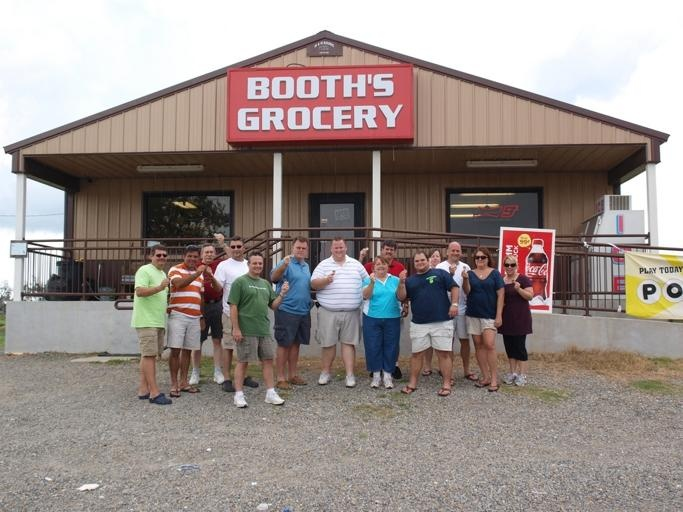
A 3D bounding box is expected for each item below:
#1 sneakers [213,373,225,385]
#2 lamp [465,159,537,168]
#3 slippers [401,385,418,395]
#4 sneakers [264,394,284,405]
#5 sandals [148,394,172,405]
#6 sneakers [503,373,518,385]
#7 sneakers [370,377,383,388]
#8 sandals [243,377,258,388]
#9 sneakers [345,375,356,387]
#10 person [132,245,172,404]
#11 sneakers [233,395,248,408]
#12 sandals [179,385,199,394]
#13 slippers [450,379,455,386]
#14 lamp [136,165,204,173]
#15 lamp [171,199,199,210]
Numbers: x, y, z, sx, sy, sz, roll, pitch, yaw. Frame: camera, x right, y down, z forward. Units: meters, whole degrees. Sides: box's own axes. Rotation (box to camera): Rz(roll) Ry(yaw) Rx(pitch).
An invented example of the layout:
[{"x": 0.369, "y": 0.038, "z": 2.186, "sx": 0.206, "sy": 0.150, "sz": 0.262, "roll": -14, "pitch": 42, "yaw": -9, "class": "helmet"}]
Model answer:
[{"x": -1.818, "y": 1.794, "z": 9.225, "sx": 0.079, "sy": 0.175, "sz": 0.229, "roll": 3, "pitch": -18, "yaw": -23, "class": "sneakers"}, {"x": 3.462, "y": -2.042, "z": 13.797, "sx": 0.936, "sy": 0.203, "sz": 0.108, "roll": 1, "pitch": 10, "yaw": 7, "class": "lamp"}, {"x": 0.937, "y": 1.850, "z": 8.812, "sx": 0.147, "sy": 0.091, "sz": 0.264, "roll": 9, "pitch": 13, "yaw": 39, "class": "slippers"}, {"x": -0.915, "y": 1.883, "z": 8.321, "sx": 0.254, "sy": 0.173, "sz": 0.116, "roll": -4, "pitch": -4, "yaw": 38, "class": "sneakers"}, {"x": -2.394, "y": 1.892, "z": 8.303, "sx": 0.221, "sy": 0.099, "sz": 0.137, "roll": -2, "pitch": 2, "yaw": 20, "class": "sandals"}, {"x": 2.476, "y": 1.808, "z": 9.276, "sx": 0.090, "sy": 0.115, "sz": 0.234, "roll": -4, "pitch": -7, "yaw": 45, "class": "sneakers"}, {"x": 0.488, "y": 1.823, "z": 9.053, "sx": 0.086, "sy": 0.123, "sz": 0.261, "roll": -1, "pitch": -9, "yaw": 8, "class": "sneakers"}, {"x": -1.343, "y": 1.842, "z": 9.188, "sx": 0.266, "sy": 0.125, "sz": 0.093, "roll": 0, "pitch": 1, "yaw": -24, "class": "sandals"}, {"x": 0.116, "y": 1.788, "z": 9.083, "sx": 0.147, "sy": 0.165, "sz": 0.255, "roll": 0, "pitch": 10, "yaw": 0, "class": "sneakers"}, {"x": -2.487, "y": 0.898, "z": 8.393, "sx": 0.498, "sy": 2.036, "sz": 0.497, "roll": 4, "pitch": 9, "yaw": 25, "class": "person"}, {"x": -1.343, "y": 1.880, "z": 8.274, "sx": 0.181, "sy": 0.154, "sz": 0.265, "roll": -2, "pitch": 10, "yaw": -14, "class": "sneakers"}, {"x": -2.151, "y": 1.861, "z": 8.834, "sx": 0.246, "sy": 0.083, "sz": 0.103, "roll": 0, "pitch": 1, "yaw": 17, "class": "sandals"}, {"x": 1.611, "y": 1.842, "z": 9.199, "sx": 0.029, "sy": 0.092, "sz": 0.086, "roll": 16, "pitch": -20, "yaw": -35, "class": "slippers"}, {"x": -3.836, "y": -1.965, "z": 14.189, "sx": 0.918, "sy": 0.196, "sz": 0.071, "roll": -1, "pitch": -31, "yaw": -3, "class": "lamp"}, {"x": -3.803, "y": -1.239, "z": 15.140, "sx": 0.575, "sy": 0.221, "sz": 0.104, "roll": 2, "pitch": 9, "yaw": 11, "class": "lamp"}]
